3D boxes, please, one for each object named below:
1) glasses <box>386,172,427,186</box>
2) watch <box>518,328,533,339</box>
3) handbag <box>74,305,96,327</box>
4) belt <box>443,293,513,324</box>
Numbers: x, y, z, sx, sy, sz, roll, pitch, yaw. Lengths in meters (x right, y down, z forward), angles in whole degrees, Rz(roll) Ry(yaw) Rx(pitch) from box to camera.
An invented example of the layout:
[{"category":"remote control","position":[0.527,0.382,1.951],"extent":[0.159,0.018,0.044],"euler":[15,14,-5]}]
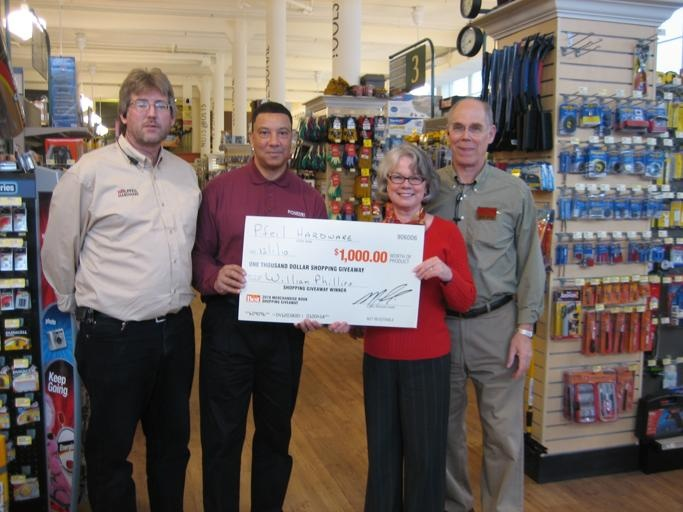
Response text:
[{"category":"glasses","position":[0.326,-0.379,3.073],"extent":[0.174,0.053,0.031],"euler":[2,9,6]},{"category":"watch","position":[1.025,0.426,3.412],"extent":[0.056,0.038,0.058],"euler":[15,2,32]},{"category":"handbag","position":[-1.296,0.305,3.116],"extent":[0.104,0.112,0.087],"euler":[4,7,2]},{"category":"belt","position":[0.791,0.302,3.462],"extent":[0.185,0.064,0.194],"euler":[-22,0,-19]}]
